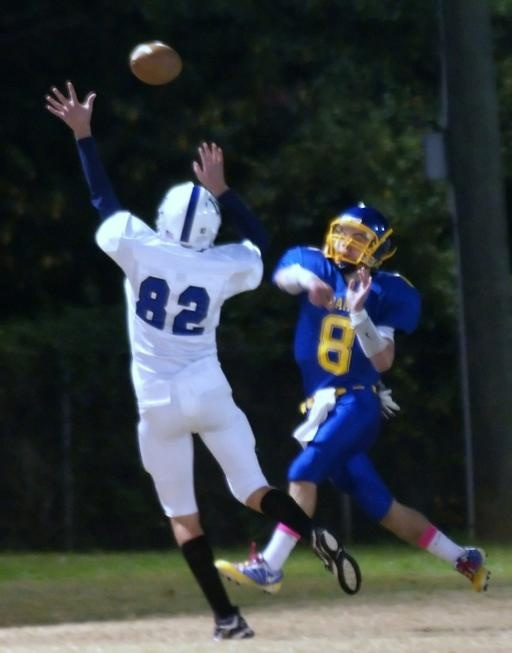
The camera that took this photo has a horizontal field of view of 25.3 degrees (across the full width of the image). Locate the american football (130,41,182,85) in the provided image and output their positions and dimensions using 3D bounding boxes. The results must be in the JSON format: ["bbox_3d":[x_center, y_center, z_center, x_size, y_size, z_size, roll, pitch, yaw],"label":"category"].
[{"bbox_3d":[-0.487,-1.272,5.583,0.251,0.226,0.208,1,2,-11],"label":"american football"}]

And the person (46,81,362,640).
[{"bbox_3d":[-0.195,0.364,5.024,0.962,2.016,0.319,-2,-4,-6],"label":"person"}]

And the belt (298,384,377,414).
[{"bbox_3d":[0.408,0.333,5.531,0.279,0.051,0.188,-14,-2,-4],"label":"belt"}]

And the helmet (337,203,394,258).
[{"bbox_3d":[0.508,-0.453,5.728,0.270,0.241,0.334,12,6,25],"label":"helmet"}]

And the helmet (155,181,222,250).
[{"bbox_3d":[-0.329,-0.494,5.210,0.345,0.295,0.396,9,0,-11],"label":"helmet"}]

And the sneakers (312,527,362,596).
[{"bbox_3d":[0.356,1.033,4.978,0.159,0.317,0.269,-4,-4,29],"label":"sneakers"}]

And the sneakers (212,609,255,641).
[{"bbox_3d":[-0.102,1.302,4.949,0.203,0.106,0.092,10,-7,3],"label":"sneakers"}]
